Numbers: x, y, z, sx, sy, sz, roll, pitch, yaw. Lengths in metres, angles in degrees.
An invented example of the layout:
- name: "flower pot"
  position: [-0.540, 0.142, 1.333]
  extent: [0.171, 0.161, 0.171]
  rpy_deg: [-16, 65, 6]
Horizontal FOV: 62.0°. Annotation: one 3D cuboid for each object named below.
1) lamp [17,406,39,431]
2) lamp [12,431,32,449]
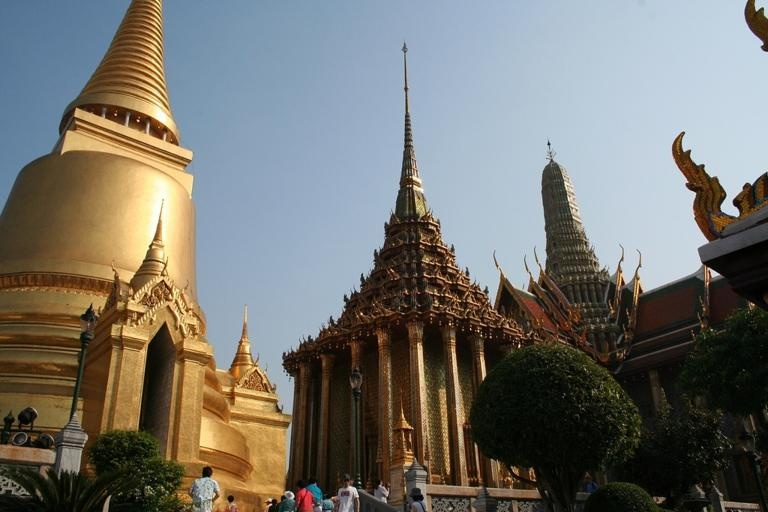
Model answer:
- name: "lamp"
  position: [-6.986, 3.188, 12.550]
  extent: [0.245, 0.432, 0.692]
  rpy_deg: [11, -29, -22]
- name: "lamp"
  position: [-6.807, 3.427, 12.005]
  extent: [0.233, 0.316, 0.222]
  rpy_deg: [1, 6, -6]
